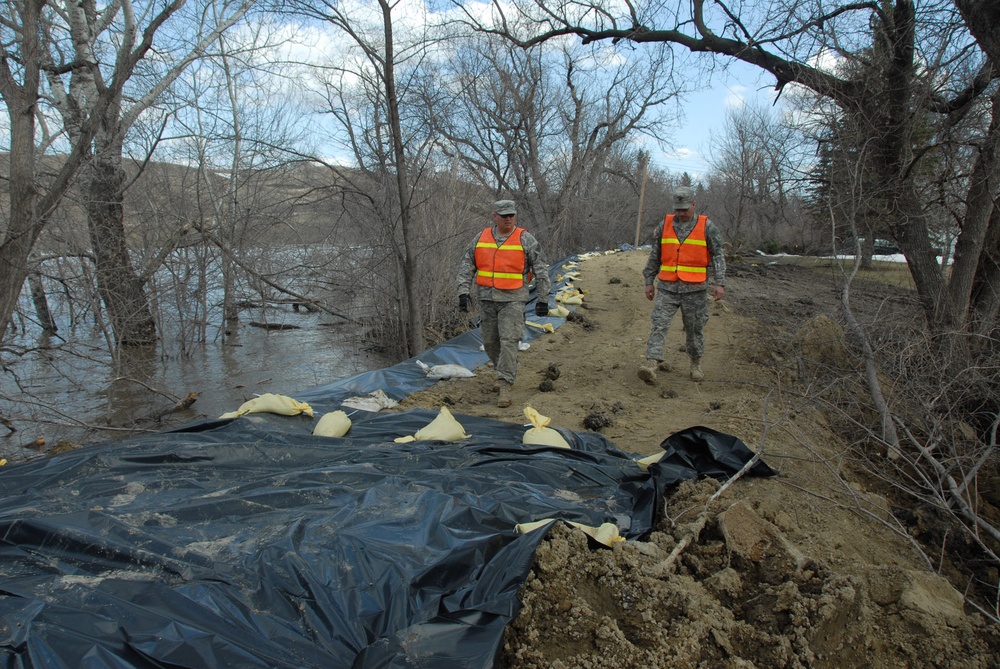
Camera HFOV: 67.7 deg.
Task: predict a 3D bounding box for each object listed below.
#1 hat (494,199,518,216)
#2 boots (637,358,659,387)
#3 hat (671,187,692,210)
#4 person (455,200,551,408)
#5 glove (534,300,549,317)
[{"bbox_3d":[0.072,-1.695,10.008,0.363,0.203,0.445,0,16,-5],"label":"hat"},{"bbox_3d":[2.021,0.532,10.118,0.176,0.201,0.493,6,-12,26],"label":"boots"},{"bbox_3d":[2.328,-1.768,9.635,0.227,0.158,0.328,1,26,35],"label":"hat"},{"bbox_3d":[0.026,-0.520,10.137,1.186,2.635,0.902,-1,6,4],"label":"person"},{"bbox_3d":[0.603,-0.342,10.176,0.267,0.216,0.242,-2,16,-11],"label":"glove"}]
